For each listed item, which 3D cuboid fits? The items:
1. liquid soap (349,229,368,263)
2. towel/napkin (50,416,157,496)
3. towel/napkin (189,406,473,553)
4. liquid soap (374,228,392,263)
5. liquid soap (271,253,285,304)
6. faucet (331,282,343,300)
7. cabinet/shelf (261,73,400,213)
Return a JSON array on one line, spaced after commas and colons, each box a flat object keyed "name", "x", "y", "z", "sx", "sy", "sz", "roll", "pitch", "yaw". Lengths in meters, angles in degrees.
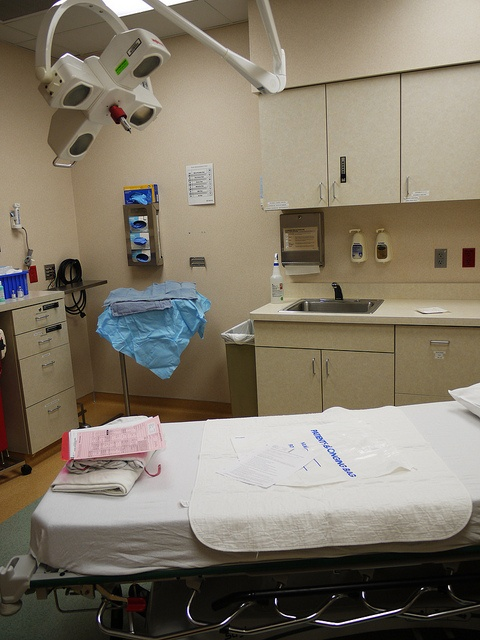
[{"name": "liquid soap", "x": 0.756, "y": -0.472, "z": 3.134, "sx": 0.108, "sy": 0.217, "sz": 0.076, "roll": -1, "pitch": 10, "yaw": 13}, {"name": "towel/napkin", "x": -0.383, "y": 0.401, "z": 1.454, "sx": 0.216, "sy": 0.081, "sz": 0.225, "roll": -2, "pitch": 15, "yaw": 2}, {"name": "towel/napkin", "x": 0.231, "y": 0.454, "z": 1.484, "sx": 0.730, "sy": 0.106, "sz": 0.666, "roll": -4, "pitch": 10, "yaw": -1}, {"name": "liquid soap", "x": 0.901, "y": -0.464, "z": 3.076, "sx": 0.088, "sy": 0.215, "sz": 0.052, "roll": -1, "pitch": 10, "yaw": 12}, {"name": "liquid soap", "x": 0.241, "y": -0.277, "z": 3.261, "sx": 0.078, "sy": 0.318, "sz": 0.200, "roll": -3, "pitch": 10, "yaw": 4}, {"name": "faucet", "x": 0.639, "y": -0.185, "z": 3.198, "sx": 0.071, "sy": 0.112, "sz": 0.112, "roll": -1, "pitch": 10, "yaw": 12}, {"name": "cabinet/shelf", "x": 0.532, "y": -0.992, "z": 2.926, "sx": 0.818, "sy": 0.730, "sz": 0.319, "roll": -1, "pitch": 3, "yaw": 11}]
